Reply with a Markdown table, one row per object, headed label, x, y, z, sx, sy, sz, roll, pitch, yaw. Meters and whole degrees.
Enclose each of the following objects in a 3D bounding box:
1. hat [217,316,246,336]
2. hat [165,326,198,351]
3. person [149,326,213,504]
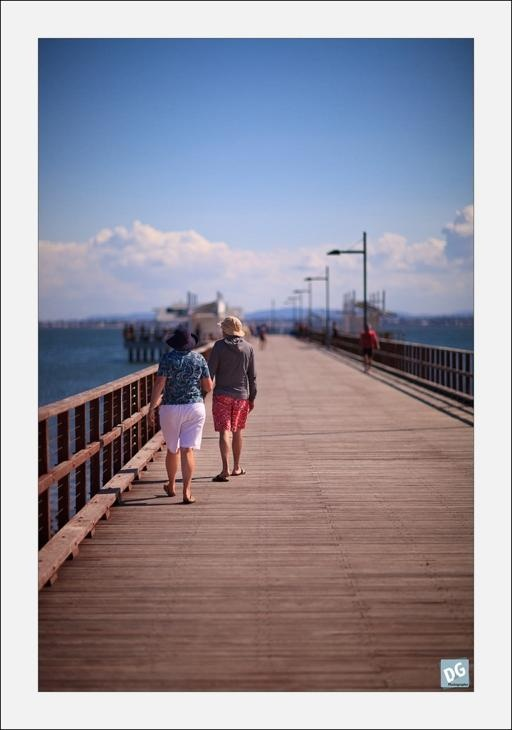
| label | x | y | z | sx | sy | sz | roll | pitch | yaw |
| --- | --- | --- | --- | --- | --- | --- | --- | --- | --- |
| hat | -0.219 | -0.351 | 6.762 | 0.177 | 0.109 | 0.207 | 13 | 36 | -18 |
| hat | -0.619 | -0.214 | 5.918 | 0.243 | 0.196 | 0.491 | -2 | 5 | -1 |
| person | -0.627 | 0.417 | 5.992 | 0.506 | 1.476 | 0.497 | -2 | 4 | -6 |
